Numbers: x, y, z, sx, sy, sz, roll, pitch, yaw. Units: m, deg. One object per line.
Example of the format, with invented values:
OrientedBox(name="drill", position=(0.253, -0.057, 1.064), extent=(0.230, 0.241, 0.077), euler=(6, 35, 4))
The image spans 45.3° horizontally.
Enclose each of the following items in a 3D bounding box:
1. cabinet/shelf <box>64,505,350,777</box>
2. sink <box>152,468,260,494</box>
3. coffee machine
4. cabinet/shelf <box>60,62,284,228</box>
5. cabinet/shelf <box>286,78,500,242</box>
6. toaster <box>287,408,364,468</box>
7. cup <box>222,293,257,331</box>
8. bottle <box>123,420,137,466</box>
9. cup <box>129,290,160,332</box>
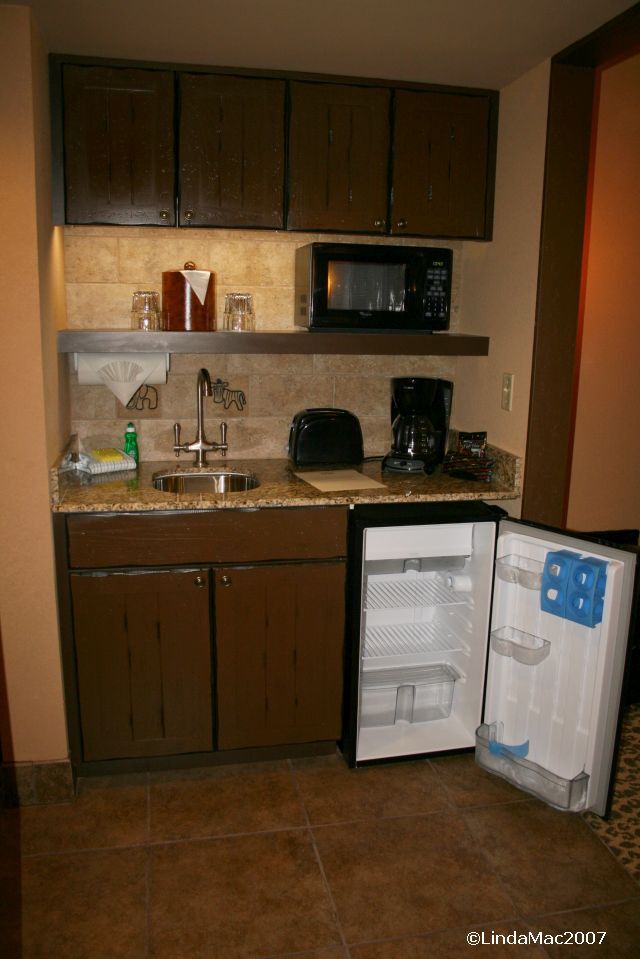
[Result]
OrientedBox(name="cabinet/shelf", position=(-0.375, 0.470, 2.551), extent=(0.879, 0.857, 0.507), euler=(-2, 8, -14))
OrientedBox(name="sink", position=(-0.394, 0.016, 2.644), extent=(0.350, 0.087, 0.194), euler=(-1, 10, -9))
OrientedBox(name="coffee machine", position=(0.360, -0.213, 2.865), extent=(0.236, 0.339, 0.266), euler=(2, 10, 10))
OrientedBox(name="cabinet/shelf", position=(-0.500, -1.092, 2.514), extent=(0.677, 0.446, 0.357), euler=(-10, 29, -26))
OrientedBox(name="cabinet/shelf", position=(0.227, -1.096, 2.680), extent=(0.657, 0.483, 0.357), euler=(1, 17, -4))
OrientedBox(name="toaster", position=(0.014, -0.159, 2.841), extent=(0.339, 0.270, 0.191), euler=(-2, 10, -11))
OrientedBox(name="cup", position=(-0.293, -0.587, 2.772), extent=(0.143, 0.187, 0.149), euler=(0, 7, 0))
OrientedBox(name="bottle", position=(-0.673, -0.128, 2.730), extent=(0.054, 0.146, 0.223), euler=(-2, 10, -14))
OrientedBox(name="cup", position=(-0.614, -0.595, 2.684), extent=(0.113, 0.131, 0.106), euler=(0, 9, 0))
